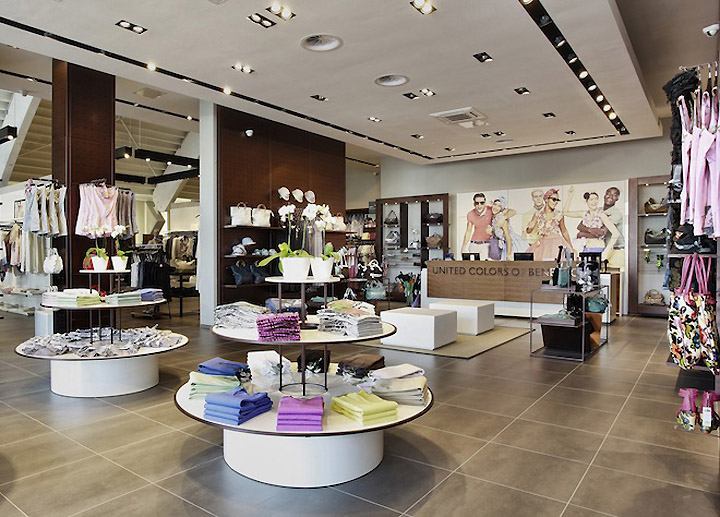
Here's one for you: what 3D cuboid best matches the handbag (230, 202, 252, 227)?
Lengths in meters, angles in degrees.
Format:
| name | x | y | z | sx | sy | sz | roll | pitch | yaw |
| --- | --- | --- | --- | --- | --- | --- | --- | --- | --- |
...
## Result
| name | x | y | z | sx | sy | sz | roll | pitch | yaw |
| --- | --- | --- | --- | --- | --- | --- | --- | --- | --- |
| handbag | -2.149 | -0.775 | 8.504 | 0.476 | 0.465 | 0.187 | 2 | -6 | -44 |

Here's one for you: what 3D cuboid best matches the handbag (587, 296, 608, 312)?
| name | x | y | z | sx | sy | sz | roll | pitch | yaw |
| --- | --- | --- | --- | --- | --- | --- | --- | --- | --- |
| handbag | 3.311 | 0.652 | 6.697 | 0.266 | 0.231 | 0.217 | -27 | -24 | 38 |

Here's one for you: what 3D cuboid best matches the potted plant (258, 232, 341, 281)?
| name | x | y | z | sx | sy | sz | roll | pitch | yaw |
| --- | --- | --- | --- | --- | --- | --- | --- | --- | --- |
| potted plant | -0.456 | 0.013 | 3.778 | 0.575 | 0.231 | 0.500 | -2 | 3 | -41 |

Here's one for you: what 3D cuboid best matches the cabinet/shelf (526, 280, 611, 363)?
| name | x | y | z | sx | sy | sz | roll | pitch | yaw |
| --- | --- | --- | --- | --- | --- | --- | --- | --- | --- |
| cabinet/shelf | 3.021 | 0.820 | 6.918 | 1.009 | 1.059 | 1.319 | 2 | 4 | 26 |

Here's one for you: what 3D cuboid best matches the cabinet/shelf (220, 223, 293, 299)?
| name | x | y | z | sx | sy | sz | roll | pitch | yaw |
| --- | --- | --- | --- | --- | --- | --- | --- | --- | --- |
| cabinet/shelf | -1.838 | 0.019 | 7.997 | 0.493 | 1.398 | 1.486 | -2 | -3 | 31 |

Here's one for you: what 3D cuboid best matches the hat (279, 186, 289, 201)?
| name | x | y | z | sx | sy | sz | roll | pitch | yaw |
| --- | --- | --- | --- | --- | --- | --- | --- | --- | --- |
| hat | -1.510 | -1.293 | 9.484 | 0.087 | 0.267 | 0.331 | 2 | 4 | 31 |

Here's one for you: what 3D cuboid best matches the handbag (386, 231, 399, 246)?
| name | x | y | z | sx | sy | sz | roll | pitch | yaw |
| --- | --- | --- | --- | --- | --- | --- | --- | --- | --- |
| handbag | 0.913 | -0.588 | 13.368 | 0.314 | 0.333 | 0.392 | 0 | 2 | 4 |

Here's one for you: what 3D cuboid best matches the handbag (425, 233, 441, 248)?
| name | x | y | z | sx | sy | sz | roll | pitch | yaw |
| --- | --- | --- | --- | --- | --- | --- | --- | --- | --- |
| handbag | 2.004 | -0.485 | 12.849 | 0.355 | 0.232 | 0.365 | 1 | -6 | -3 |

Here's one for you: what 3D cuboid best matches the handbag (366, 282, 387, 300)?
| name | x | y | z | sx | sy | sz | roll | pitch | yaw |
| --- | --- | --- | --- | --- | --- | --- | --- | --- | --- |
| handbag | 0.292 | 0.574 | 8.651 | 0.318 | 0.316 | 0.368 | 0 | -3 | -3 |

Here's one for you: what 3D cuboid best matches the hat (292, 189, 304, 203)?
| name | x | y | z | sx | sy | sz | roll | pitch | yaw |
| --- | --- | --- | --- | --- | --- | --- | --- | --- | --- |
| hat | -1.266 | -1.283 | 9.737 | 0.116 | 0.269 | 0.304 | 3 | 5 | 34 |

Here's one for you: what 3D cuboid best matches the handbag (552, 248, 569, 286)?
| name | x | y | z | sx | sy | sz | roll | pitch | yaw |
| --- | --- | --- | --- | --- | --- | --- | --- | --- | --- |
| handbag | 2.855 | 0.108 | 6.748 | 0.229 | 0.499 | 0.599 | 2 | 4 | 22 |

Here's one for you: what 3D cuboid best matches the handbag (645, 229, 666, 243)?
| name | x | y | z | sx | sy | sz | roll | pitch | yaw |
| --- | --- | --- | --- | --- | --- | --- | --- | --- | --- |
| handbag | 6.386 | -0.479 | 10.315 | 0.409 | 0.275 | 0.241 | -1 | -1 | 16 |

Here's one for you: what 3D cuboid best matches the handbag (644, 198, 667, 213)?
| name | x | y | z | sx | sy | sz | roll | pitch | yaw |
| --- | --- | --- | --- | --- | --- | --- | --- | --- | --- |
| handbag | 6.356 | -1.139 | 10.271 | 0.235 | 0.172 | 0.369 | 1 | 5 | -6 |

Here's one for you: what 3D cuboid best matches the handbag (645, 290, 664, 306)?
| name | x | y | z | sx | sy | sz | roll | pitch | yaw |
| --- | --- | --- | --- | --- | --- | --- | --- | --- | --- |
| handbag | 6.270 | 0.820 | 10.150 | 0.466 | 0.415 | 0.259 | 1 | 1 | 40 |

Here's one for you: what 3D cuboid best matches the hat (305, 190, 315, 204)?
| name | x | y | z | sx | sy | sz | roll | pitch | yaw |
| --- | --- | --- | --- | --- | --- | --- | --- | --- | --- |
| hat | -1.052 | -1.313 | 9.971 | 0.200 | 0.268 | 0.412 | 0 | 4 | 3 |

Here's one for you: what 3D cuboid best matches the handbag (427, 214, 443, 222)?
| name | x | y | z | sx | sy | sz | roll | pitch | yaw |
| --- | --- | --- | --- | --- | --- | --- | --- | --- | --- |
| handbag | 2.034 | -1.115 | 12.925 | 0.323 | 0.202 | 0.235 | 3 | 5 | 37 |

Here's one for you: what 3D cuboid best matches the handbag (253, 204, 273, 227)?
| name | x | y | z | sx | sy | sz | roll | pitch | yaw |
| --- | --- | --- | --- | --- | --- | --- | --- | --- | --- |
| handbag | -1.826 | -0.804 | 8.840 | 0.478 | 0.473 | 0.194 | 2 | -7 | -45 |

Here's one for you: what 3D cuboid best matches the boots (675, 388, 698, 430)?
| name | x | y | z | sx | sy | sz | roll | pitch | yaw |
| --- | --- | --- | --- | --- | --- | --- | --- | --- | --- |
| boots | 2.427 | 1.091 | 3.527 | 0.144 | 0.266 | 0.282 | 1 | -14 | 33 |

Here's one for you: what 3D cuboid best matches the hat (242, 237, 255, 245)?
| name | x | y | z | sx | sy | sz | roll | pitch | yaw |
| --- | --- | --- | --- | --- | --- | --- | --- | --- | --- |
| hat | -2.067 | -0.326 | 8.828 | 0.220 | 0.156 | 0.359 | -1 | 4 | -7 |

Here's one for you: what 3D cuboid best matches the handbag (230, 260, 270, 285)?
| name | x | y | z | sx | sy | sz | roll | pitch | yaw |
| --- | --- | --- | --- | --- | --- | --- | --- | --- | --- |
| handbag | -1.958 | 0.239 | 8.274 | 0.189 | 0.350 | 0.525 | -2 | -1 | 41 |

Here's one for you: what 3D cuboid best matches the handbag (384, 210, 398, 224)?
| name | x | y | z | sx | sy | sz | roll | pitch | yaw |
| --- | --- | --- | --- | --- | --- | --- | --- | --- | --- |
| handbag | 0.891 | -1.161 | 13.522 | 0.442 | 0.413 | 0.292 | 1 | -1 | 34 |
